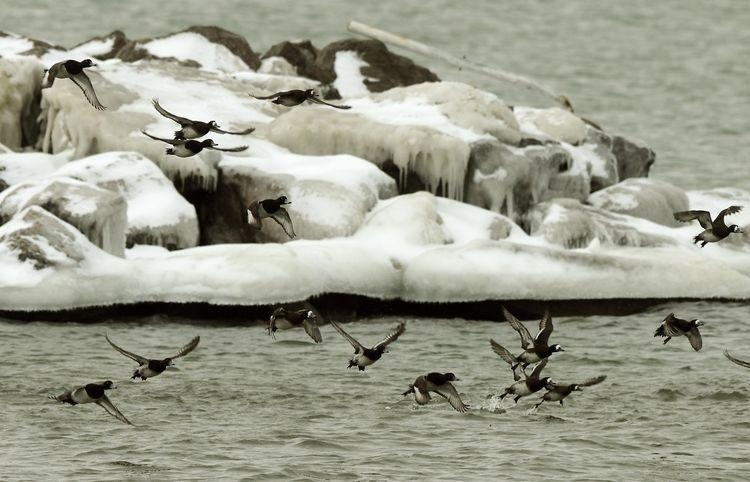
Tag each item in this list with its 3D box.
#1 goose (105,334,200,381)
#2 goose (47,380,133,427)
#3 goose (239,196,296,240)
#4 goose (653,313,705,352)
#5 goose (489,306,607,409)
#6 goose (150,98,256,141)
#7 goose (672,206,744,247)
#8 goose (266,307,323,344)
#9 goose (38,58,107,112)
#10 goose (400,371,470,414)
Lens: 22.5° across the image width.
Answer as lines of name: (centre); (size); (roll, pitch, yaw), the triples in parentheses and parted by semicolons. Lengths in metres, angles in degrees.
goose: (-3.698, 2.097, 31.913); (1.495, 0.551, 0.985); (5, 7, -39)
goose: (-4.723, 2.632, 31.501); (1.039, 0.411, 1.038); (17, -10, 12)
goose: (-1.998, -0.532, 34.126); (0.847, 1.023, 0.421); (33, 56, -26)
goose: (5.335, 1.622, 32.946); (0.769, 0.578, 0.433); (16, 36, 16)
goose: (2.753, 2.248, 32.328); (1.711, 2.096, 1.392); (7, 35, 3)
goose: (-2.983, -2.382, 34.052); (1.886, 1.009, 2.847); (-3, 2, -18)
goose: (6.182, -0.272, 35.566); (1.446, 0.525, 0.963); (6, -5, -40)
goose: (-1.329, 1.451, 32.431); (0.975, 0.722, 0.484); (13, 35, 12)
goose: (-5.256, -2.699, 32.755); (0.927, 1.018, 1.066); (-4, 35, -13)
goose: (1.004, 2.472, 31.268); (0.796, 0.350, 0.907); (21, 7, 9)
